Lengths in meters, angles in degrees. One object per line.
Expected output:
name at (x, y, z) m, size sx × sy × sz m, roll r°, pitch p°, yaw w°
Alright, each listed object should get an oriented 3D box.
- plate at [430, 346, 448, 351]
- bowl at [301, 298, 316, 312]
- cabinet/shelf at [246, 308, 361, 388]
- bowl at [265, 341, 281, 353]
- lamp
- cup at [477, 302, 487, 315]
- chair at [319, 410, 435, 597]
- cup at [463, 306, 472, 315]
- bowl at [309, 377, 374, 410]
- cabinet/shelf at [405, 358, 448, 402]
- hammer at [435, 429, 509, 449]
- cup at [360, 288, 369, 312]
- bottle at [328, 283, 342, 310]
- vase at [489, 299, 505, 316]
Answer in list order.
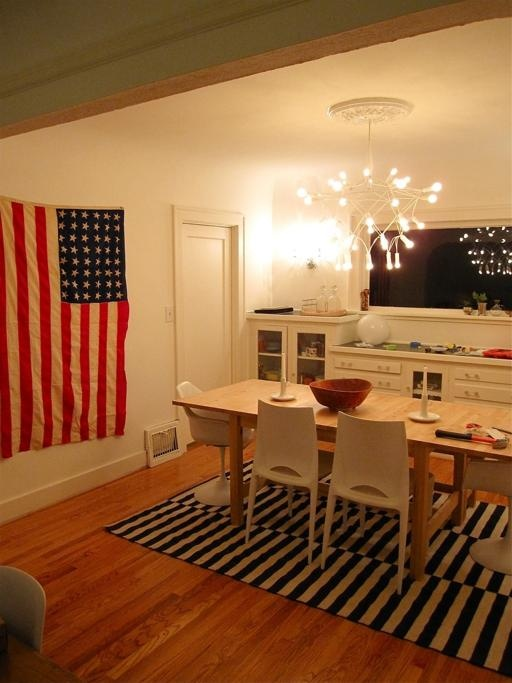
plate at (1.591, 0.066, 4.443) m, size 0.137 × 0.041 × 0.231 m, roll 1°, pitch 5°, yaw 24°
bowl at (0.552, -0.384, 5.343) m, size 0.139 × 0.089 × 0.144 m, roll -1°, pitch 14°, yaw 0°
cabinet/shelf at (0.489, 0.046, 4.859) m, size 0.697 × 0.672 × 0.306 m, roll 3°, pitch 5°, yaw 31°
bowl at (0.179, 0.053, 5.243) m, size 0.116 × 0.071 × 0.120 m, roll 0°, pitch 1°, yaw 0°
lamp at (0.921, -1.255, 4.466) m, size 1.208 × 1.177 × 1.235 m, roll -1°, pitch 8°, yaw 3°
cup at (1.997, -0.287, 4.496) m, size 0.090 × 0.119 × 0.102 m, roll 1°, pitch 5°, yaw 27°
chair at (0.539, 0.736, 2.456) m, size 0.418 × 0.809 × 0.206 m, roll 2°, pitch 6°, yaw 35°
cup at (1.885, -0.277, 4.547) m, size 0.069 × 0.059 × 0.067 m, roll -3°, pitch 8°, yaw 0°
bowl at (0.488, 0.307, 2.932) m, size 0.332 × 0.152 × 0.375 m, roll 0°, pitch 5°, yaw 12°
cabinet/shelf at (1.391, 0.293, 4.112) m, size 0.328 × 0.327 × 0.177 m, roll 3°, pitch 5°, yaw 37°
hammer at (0.990, 0.441, 2.356) m, size 0.312 × 0.036 × 0.151 m, roll 2°, pitch 6°, yaw 33°
cup at (1.092, -0.413, 5.138) m, size 0.080 × 0.219 × 0.058 m, roll 0°, pitch 5°, yaw 15°
bottle at (0.814, -0.451, 5.184) m, size 0.135 × 0.270 × 0.364 m, roll 0°, pitch 5°, yaw 8°
vase at (2.105, -0.299, 4.457) m, size 0.133 × 0.182 × 0.129 m, roll -15°, pitch 14°, yaw -42°
